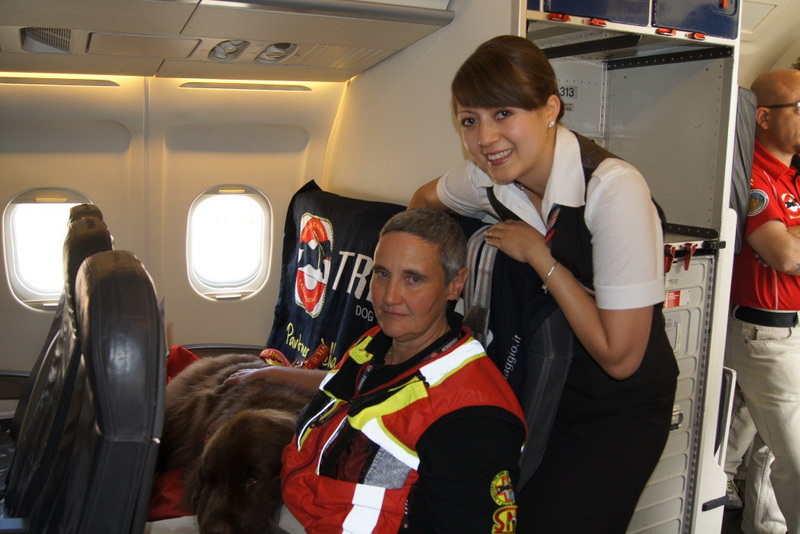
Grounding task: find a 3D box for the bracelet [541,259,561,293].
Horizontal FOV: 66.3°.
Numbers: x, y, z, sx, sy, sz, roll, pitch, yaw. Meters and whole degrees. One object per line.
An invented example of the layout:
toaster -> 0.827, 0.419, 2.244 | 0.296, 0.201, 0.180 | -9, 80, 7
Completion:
bracelet -> 0.612, 0.039, 2.523 | 0.031, 0.123, 0.100 | 9, -6, -1
